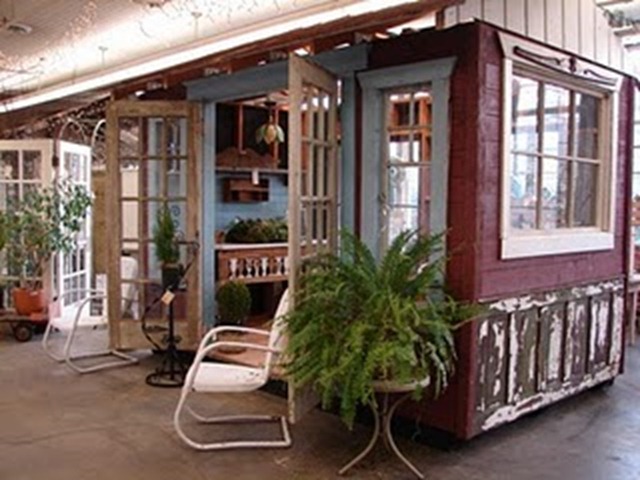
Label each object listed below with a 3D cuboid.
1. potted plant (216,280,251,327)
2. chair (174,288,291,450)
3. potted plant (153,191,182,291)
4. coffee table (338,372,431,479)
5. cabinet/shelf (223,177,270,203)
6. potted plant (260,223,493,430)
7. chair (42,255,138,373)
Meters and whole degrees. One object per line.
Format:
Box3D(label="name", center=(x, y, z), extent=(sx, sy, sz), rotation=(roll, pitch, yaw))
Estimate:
Box3D(label="potted plant", center=(-0.978, 0.725, 6.051), extent=(0.449, 0.517, 0.462), rotation=(3, 3, 24))
Box3D(label="chair", center=(-0.753, 0.892, 4.373), extent=(1.049, 1.077, 1.032), rotation=(12, 6, 17))
Box3D(label="potted plant", center=(-1.577, -0.043, 5.281), extent=(0.235, 0.699, 0.234), rotation=(1, -23, -26))
Box3D(label="coffee table", center=(0.524, 1.270, 3.783), extent=(0.728, 0.643, 0.701), rotation=(3, 2, 44))
Box3D(label="cabinet/shelf", center=(-1.023, -0.706, 7.398), extent=(0.216, 0.353, 0.707), rotation=(6, 7, 45))
Box3D(label="potted plant", center=(0.491, 0.426, 3.952), extent=(1.414, 1.218, 1.277), rotation=(-3, 7, -33))
Box3D(label="chair", center=(-2.581, 0.828, 5.901), extent=(1.031, 1.134, 1.013), rotation=(-3, -1, -19))
